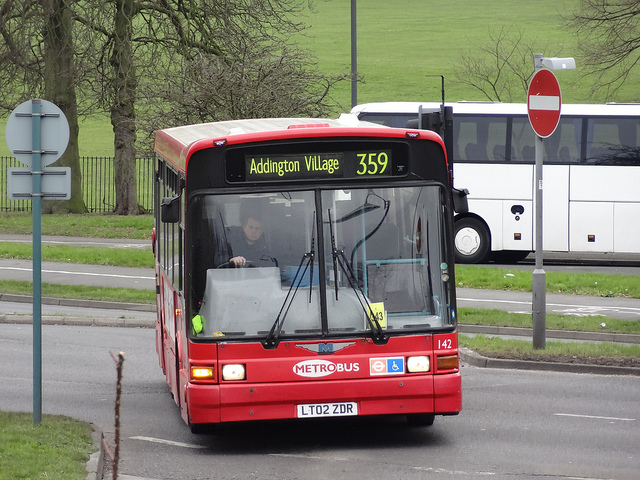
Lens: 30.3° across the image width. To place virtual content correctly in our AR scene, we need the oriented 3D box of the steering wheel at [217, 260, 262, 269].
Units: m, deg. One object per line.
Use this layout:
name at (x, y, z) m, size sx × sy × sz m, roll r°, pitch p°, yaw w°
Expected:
steering wheel at (-1.150, 0.369, 16.826) m, size 0.621 × 0.116 × 0.072 m, roll -1°, pitch 8°, yaw -6°

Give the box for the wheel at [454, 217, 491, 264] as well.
wheel at (4.413, 0.074, 33.867) m, size 1.027 × 1.760 × 1.071 m, roll -3°, pitch 6°, yaw 0°

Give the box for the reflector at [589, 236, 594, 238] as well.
reflector at (7.699, -0.049, 33.498) m, size 0.124 × 0.036 × 0.006 m, roll 0°, pitch 8°, yaw -1°

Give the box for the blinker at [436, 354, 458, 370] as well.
blinker at (1.815, 1.775, 16.862) m, size 0.209 × 0.150 × 0.218 m, roll -5°, pitch 4°, yaw -17°

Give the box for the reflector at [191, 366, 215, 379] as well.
reflector at (-1.641, 1.877, 16.515) m, size 0.312 × 0.177 × 0.034 m, roll 1°, pitch 8°, yaw 6°

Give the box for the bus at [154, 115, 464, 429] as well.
bus at (0.000, 0.482, 16.818) m, size 3.867 × 4.035 × 1.521 m, roll 1°, pitch 8°, yaw 5°

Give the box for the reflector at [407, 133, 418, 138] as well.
reflector at (1.340, -1.502, 17.134) m, size 0.146 × 0.064 × 0.033 m, roll -2°, pitch 9°, yaw -14°

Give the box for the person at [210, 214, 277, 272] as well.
person at (-1.057, 0.058, 16.666) m, size 0.739 × 0.833 × 0.187 m, roll 2°, pitch -3°, yaw 2°

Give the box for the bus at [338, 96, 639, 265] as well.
bus at (6.983, -1.835, 35.819) m, size 10.276 × 4.945 × 3.950 m, roll -1°, pitch 1°, yaw 1°
